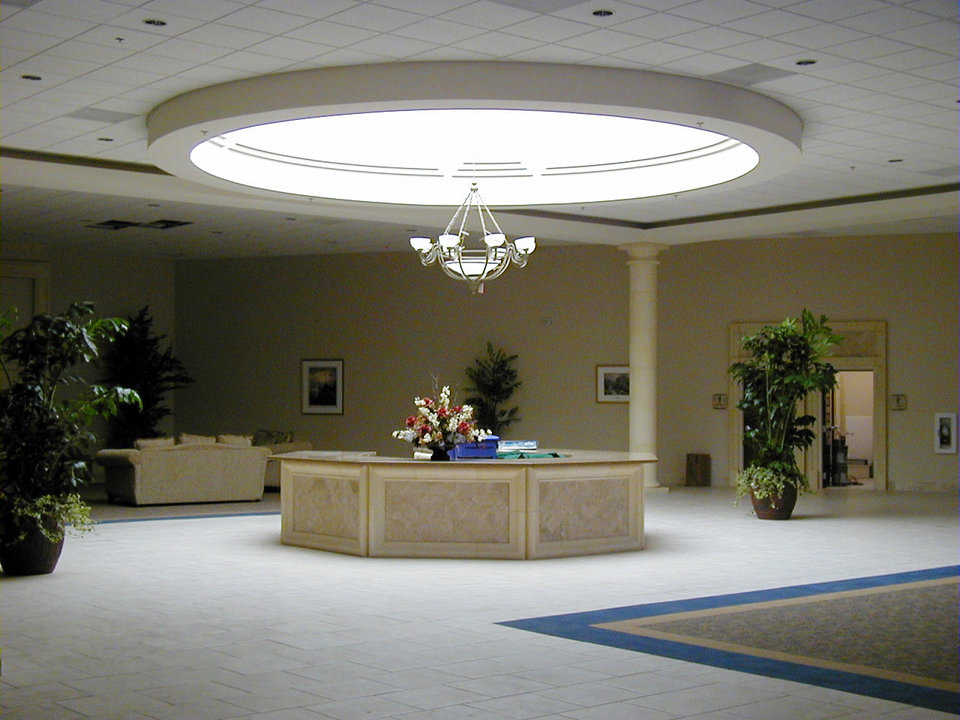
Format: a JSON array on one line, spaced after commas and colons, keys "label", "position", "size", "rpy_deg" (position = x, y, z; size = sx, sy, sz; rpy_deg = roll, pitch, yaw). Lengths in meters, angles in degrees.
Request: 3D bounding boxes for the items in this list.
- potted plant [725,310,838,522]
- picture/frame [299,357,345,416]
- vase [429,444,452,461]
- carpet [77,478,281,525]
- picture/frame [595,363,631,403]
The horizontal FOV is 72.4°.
[{"label": "potted plant", "position": [5.032, 0.911, 10.931], "size": [1.511, 3.437, 0.921], "rpy_deg": [-2, -6, 22]}, {"label": "picture/frame", "position": [-4.127, 0.691, 17.309], "size": [1.352, 1.839, 0.128], "rpy_deg": [-1, -5, 5]}, {"label": "vase", "position": [-0.452, 1.060, 7.639], "size": [0.177, 0.152, 0.192], "rpy_deg": [-3, -4, 24]}, {"label": "carpet", "position": [-5.637, 2.637, 12.016], "size": [2.150, 0.314, 3.660], "rpy_deg": [2, 0, 37]}, {"label": "picture/frame", "position": [3.168, 0.519, 15.478], "size": [0.840, 0.951, 0.030], "rpy_deg": [0, -4, 9]}]
